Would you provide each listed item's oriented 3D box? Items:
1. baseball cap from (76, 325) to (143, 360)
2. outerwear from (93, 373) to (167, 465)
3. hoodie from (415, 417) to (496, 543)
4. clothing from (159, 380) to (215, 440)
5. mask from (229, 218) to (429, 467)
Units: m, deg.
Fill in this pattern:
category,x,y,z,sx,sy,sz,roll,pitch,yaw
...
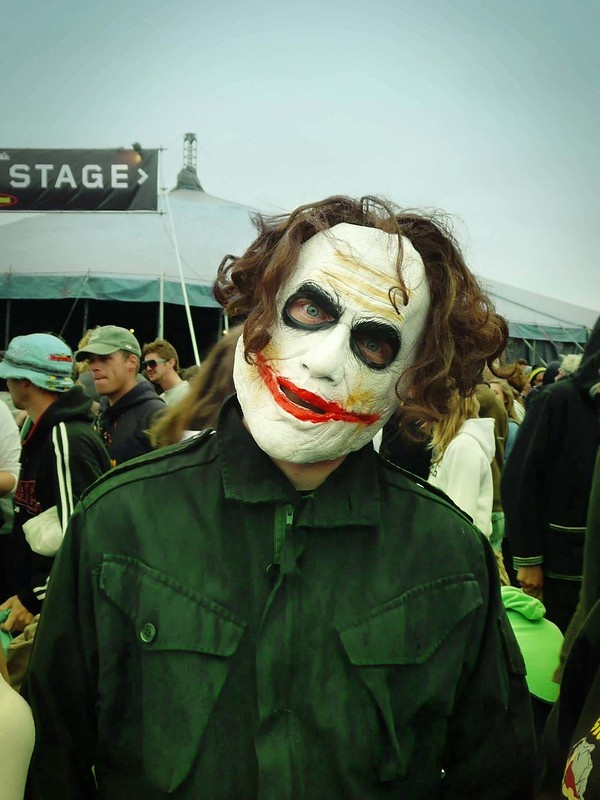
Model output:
category,x,y,z,sx,sy,sz,roll,pitch,yaw
baseball cap,-1.060,-0.329,4.714,0.197,0.148,0.309,-7,-11,39
outerwear,-0.842,0.091,4.155,0.443,0.409,0.180,-12,-24,43
hoodie,0.568,0.261,3.032,0.221,0.467,0.362,13,-36,13
clothing,-0.443,0.039,3.331,0.119,0.227,0.183,37,24,-42
mask,0.066,-0.134,1.845,0.376,0.545,0.249,25,-22,-8
